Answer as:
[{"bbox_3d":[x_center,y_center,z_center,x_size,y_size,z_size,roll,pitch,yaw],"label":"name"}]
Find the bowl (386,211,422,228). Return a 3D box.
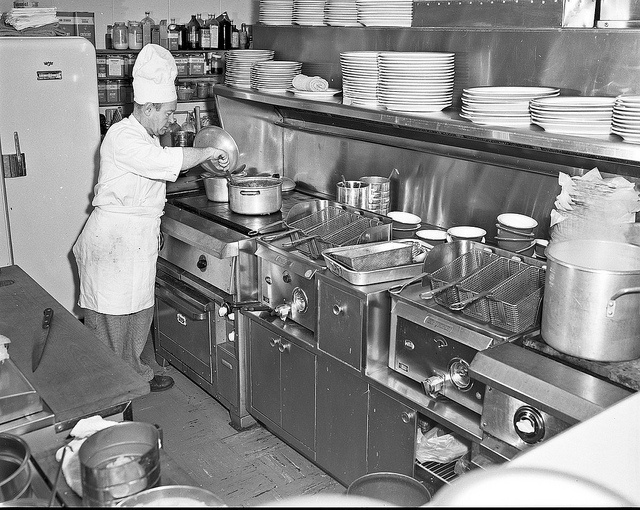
[{"bbox_3d":[0.463,-0.203,2.698,0.168,0.057,0.179,0,24,0],"label":"bowl"}]

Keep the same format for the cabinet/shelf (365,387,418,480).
[{"bbox_3d":[0.309,0.834,2.168,0.077,0.426,0.306,-20,30,-38],"label":"cabinet/shelf"}]

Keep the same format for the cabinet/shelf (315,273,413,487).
[{"bbox_3d":[0.316,0.664,2.357,0.341,0.949,0.662,-4,6,-43],"label":"cabinet/shelf"}]

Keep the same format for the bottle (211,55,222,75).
[{"bbox_3d":[-1.047,-1.914,4.874,0.104,0.191,0.111,2,30,-1],"label":"bottle"}]

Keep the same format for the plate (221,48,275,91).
[{"bbox_3d":[-0.532,-1.303,3.464,0.297,0.206,0.301,4,18,11],"label":"plate"}]

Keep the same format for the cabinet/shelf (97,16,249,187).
[{"bbox_3d":[-0.762,-0.986,3.121,0.944,1.030,0.810,-2,32,-12],"label":"cabinet/shelf"}]

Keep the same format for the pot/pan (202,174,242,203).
[{"bbox_3d":[-0.696,-0.460,3.287,0.192,0.131,0.193,-5,15,-17],"label":"pot/pan"}]

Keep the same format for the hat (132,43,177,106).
[{"bbox_3d":[-0.932,-1.015,2.739,0.250,0.307,0.338,-5,24,-13],"label":"hat"}]

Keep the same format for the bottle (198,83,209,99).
[{"bbox_3d":[-1.156,-1.624,4.803,0.142,0.157,0.145,4,15,3],"label":"bottle"}]

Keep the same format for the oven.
[{"bbox_3d":[-0.763,0.498,3.332,0.964,0.822,0.500,15,20,37],"label":"oven"}]

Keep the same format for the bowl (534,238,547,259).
[{"bbox_3d":[0.983,-0.026,2.170,0.071,0.068,0.076,-1,16,0],"label":"bowl"}]

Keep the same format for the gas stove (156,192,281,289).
[{"bbox_3d":[-0.715,0.019,3.168,0.810,0.401,0.617,19,8,29],"label":"gas stove"}]

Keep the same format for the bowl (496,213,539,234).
[{"bbox_3d":[0.925,-0.157,2.295,0.127,0.053,0.125,-2,25,1],"label":"bowl"}]

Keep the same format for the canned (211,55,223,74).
[{"bbox_3d":[-1.040,-1.921,4.873,0.100,0.187,0.110,-22,40,-34],"label":"canned"}]

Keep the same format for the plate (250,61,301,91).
[{"bbox_3d":[-0.304,-1.176,3.190,0.237,0.108,0.240,7,16,25],"label":"plate"}]

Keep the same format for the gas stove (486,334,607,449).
[{"bbox_3d":[0.661,0.395,1.417,0.194,0.276,0.343,-5,17,-29],"label":"gas stove"}]

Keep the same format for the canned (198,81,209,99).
[{"bbox_3d":[-1.161,-1.632,4.812,0.140,0.152,0.142,-3,28,-14],"label":"canned"}]

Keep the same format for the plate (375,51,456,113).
[{"bbox_3d":[0.465,-0.838,2.368,0.324,0.200,0.329,4,18,13],"label":"plate"}]

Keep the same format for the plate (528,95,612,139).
[{"bbox_3d":[0.984,-0.553,1.917,0.310,0.128,0.196,13,27,27],"label":"plate"}]

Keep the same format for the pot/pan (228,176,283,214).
[{"bbox_3d":[-0.387,-0.363,3.025,0.247,0.128,0.306,-12,26,-27],"label":"pot/pan"}]

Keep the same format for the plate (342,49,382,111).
[{"bbox_3d":[0.221,-0.943,2.592,0.266,0.234,0.312,3,21,9],"label":"plate"}]
